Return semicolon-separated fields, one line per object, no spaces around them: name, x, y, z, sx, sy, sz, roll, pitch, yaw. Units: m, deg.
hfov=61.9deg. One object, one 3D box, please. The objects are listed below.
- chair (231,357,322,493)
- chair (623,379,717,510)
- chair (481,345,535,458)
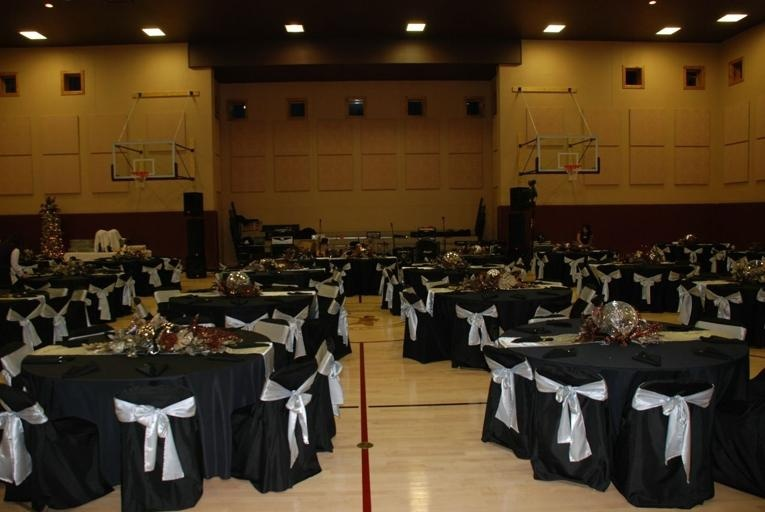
chair;-1.105;1.772;7.111;0.997;1.256;1.061;1;6;19
chair;3.030;1.930;6.952;1.165;1.471;1.184;0;-1;10
chair;1.415;1.655;7.237;0.654;1.279;0.407;1;2;23
